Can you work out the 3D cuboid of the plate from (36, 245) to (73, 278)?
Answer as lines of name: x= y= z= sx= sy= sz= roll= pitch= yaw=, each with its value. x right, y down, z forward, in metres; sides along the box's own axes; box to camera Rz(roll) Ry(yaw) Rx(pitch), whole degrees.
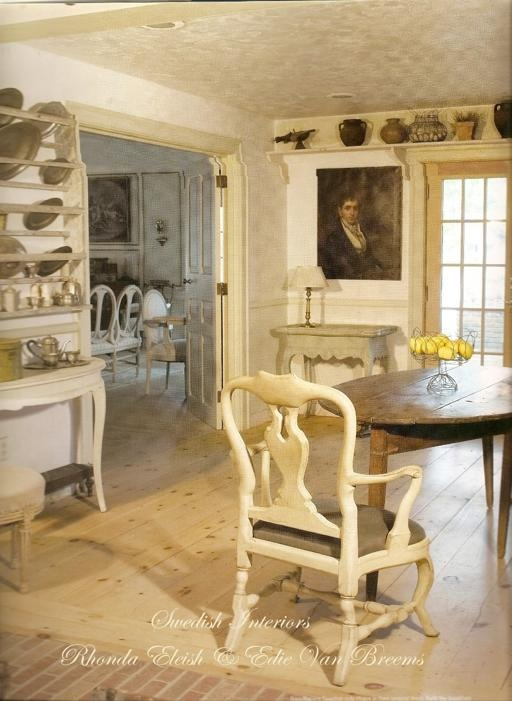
plate: x=-1.110 y=-0.492 z=3.308 sx=0.183 sy=0.178 sz=0.214 roll=-2 pitch=3 yaw=-11

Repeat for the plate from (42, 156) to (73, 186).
plate: x=-1.071 y=-0.984 z=3.219 sx=0.177 sy=0.158 sz=0.282 roll=-2 pitch=3 yaw=-18

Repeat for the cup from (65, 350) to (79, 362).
cup: x=-0.973 y=0.029 z=3.186 sx=0.070 sy=0.045 sz=0.056 roll=-9 pitch=13 yaw=-43

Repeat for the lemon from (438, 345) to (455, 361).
lemon: x=0.828 y=0.015 z=2.621 sx=0.071 sy=0.056 sz=0.068 roll=3 pitch=14 yaw=22

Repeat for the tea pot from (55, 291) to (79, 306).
tea pot: x=-1.038 y=-0.279 z=3.307 sx=0.120 sy=0.080 sz=0.073 roll=-2 pitch=4 yaw=-24

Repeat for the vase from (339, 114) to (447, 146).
vase: x=1.157 y=-1.865 z=5.146 sx=0.878 sy=0.325 sz=0.236 roll=1 pitch=4 yaw=26

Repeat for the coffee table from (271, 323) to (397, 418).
coffee table: x=0.659 y=0.175 z=5.372 sx=0.933 sy=0.615 sz=0.502 roll=1 pitch=-7 yaw=26

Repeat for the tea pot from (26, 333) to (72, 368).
tea pot: x=-1.053 y=0.005 z=3.180 sx=0.257 sy=0.150 sz=0.150 roll=-4 pitch=10 yaw=-39

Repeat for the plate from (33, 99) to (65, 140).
plate: x=-1.109 y=-1.232 z=3.239 sx=0.192 sy=0.195 sz=0.038 roll=14 pitch=22 yaw=22

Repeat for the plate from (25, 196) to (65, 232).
plate: x=-1.166 y=-0.733 z=3.262 sx=0.118 sy=0.215 sz=0.294 roll=-1 pitch=3 yaw=8

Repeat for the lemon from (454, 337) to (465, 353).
lemon: x=0.909 y=-0.025 z=2.690 sx=0.071 sy=0.060 sz=0.028 roll=-1 pitch=-11 yaw=1

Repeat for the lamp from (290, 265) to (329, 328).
lamp: x=0.485 y=-0.505 z=5.593 sx=0.336 sy=0.562 sz=0.606 roll=-1 pitch=3 yaw=4

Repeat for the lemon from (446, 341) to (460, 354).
lemon: x=0.864 y=-0.015 z=2.639 sx=0.067 sy=0.062 sz=0.063 roll=1 pitch=11 yaw=2
